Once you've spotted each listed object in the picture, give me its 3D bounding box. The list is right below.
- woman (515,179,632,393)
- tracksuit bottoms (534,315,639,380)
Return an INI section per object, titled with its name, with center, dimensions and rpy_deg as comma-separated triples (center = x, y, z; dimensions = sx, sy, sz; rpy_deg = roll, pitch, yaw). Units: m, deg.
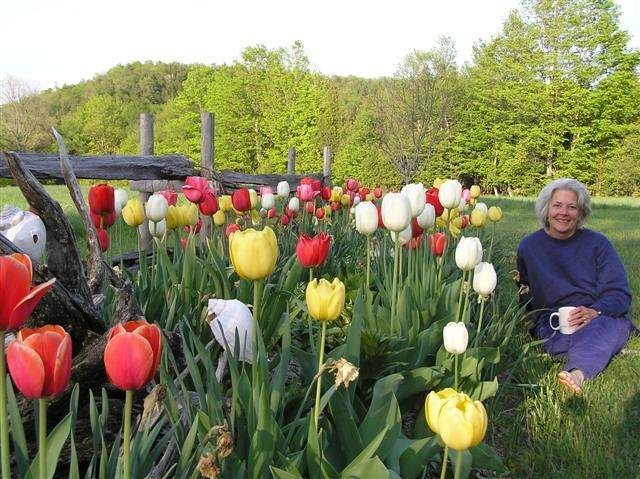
[woman]
center = 2.122, 0.330, 3.974
dimensions = 0.704, 1.855, 0.939
rpy_deg = 0, 1, -10
[tracksuit bottoms]
center = 1.976, 0.764, 3.715
dimensions = 0.631, 0.335, 0.857
rpy_deg = 2, 9, 17
